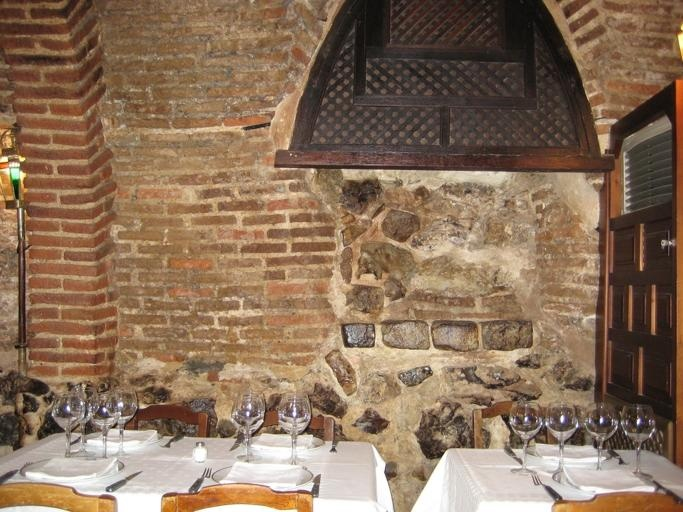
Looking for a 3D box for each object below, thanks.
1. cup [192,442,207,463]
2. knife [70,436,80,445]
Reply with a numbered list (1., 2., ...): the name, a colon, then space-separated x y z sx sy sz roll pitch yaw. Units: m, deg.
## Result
1. cup: -0.717 1.017 3.845 0.085 0.116 0.086 -2 -8 0
2. knife: -1.437 1.006 4.046 0.031 0.030 0.053 1 9 -9
